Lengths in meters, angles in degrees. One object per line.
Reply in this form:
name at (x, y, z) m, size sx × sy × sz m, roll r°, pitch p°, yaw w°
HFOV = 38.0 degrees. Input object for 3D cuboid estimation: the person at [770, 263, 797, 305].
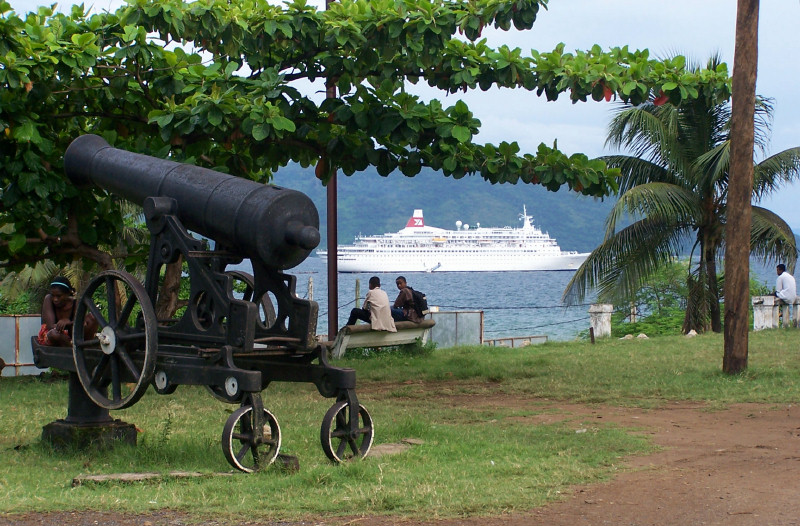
person at (9.681, 0.532, 29.604) m, size 0.574 × 1.026 × 1.334 m, roll 2°, pitch 7°, yaw 18°

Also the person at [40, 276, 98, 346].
person at (-4.925, 0.758, 17.399) m, size 0.764 × 1.101 × 0.723 m, roll -9°, pitch 9°, yaw -27°

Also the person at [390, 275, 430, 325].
person at (0.093, 0.898, 25.853) m, size 0.777 × 1.169 × 0.866 m, roll -6°, pitch 8°, yaw -35°

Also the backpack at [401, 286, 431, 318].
backpack at (0.297, 0.904, 25.761) m, size 0.666 × 0.725 × 0.493 m, roll -5°, pitch 2°, yaw 5°

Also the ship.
ship at (5.695, -4.085, 119.328) m, size 28.908 × 9.220 × 9.521 m, roll -1°, pitch -2°, yaw 8°

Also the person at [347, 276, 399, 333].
person at (-0.552, 0.892, 24.660) m, size 0.727 × 1.198 × 1.094 m, roll -3°, pitch 7°, yaw -17°
